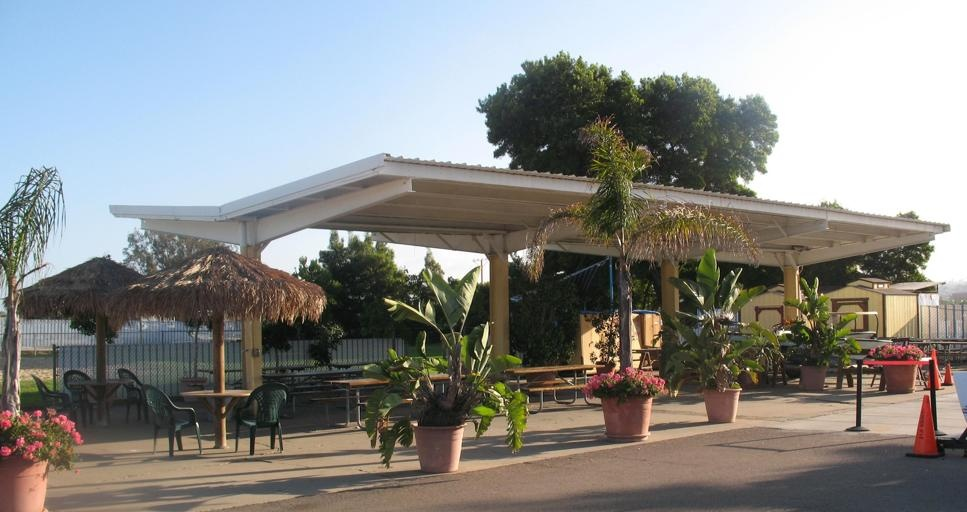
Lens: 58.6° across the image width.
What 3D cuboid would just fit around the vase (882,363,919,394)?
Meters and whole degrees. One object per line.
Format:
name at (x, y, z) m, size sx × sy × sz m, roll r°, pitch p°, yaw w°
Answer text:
vase at (12.905, 3.817, 26.662) m, size 1.017 × 0.775 × 1.036 m, roll -5°, pitch -12°, yaw 42°

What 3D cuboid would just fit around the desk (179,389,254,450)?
desk at (-6.451, 3.930, 21.480) m, size 1.758 × 1.225 × 1.766 m, roll -1°, pitch -9°, yaw -1°

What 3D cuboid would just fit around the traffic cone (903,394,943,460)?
traffic cone at (9.865, 3.869, 19.508) m, size 0.761 × 1.344 × 0.602 m, roll -3°, pitch -9°, yaw 10°

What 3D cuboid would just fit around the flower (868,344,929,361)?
flower at (12.720, 3.015, 26.687) m, size 0.941 × 0.335 × 0.949 m, roll 0°, pitch -4°, yaw 5°

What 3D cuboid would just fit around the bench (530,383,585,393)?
bench at (2.002, 3.850, 25.157) m, size 1.762 × 0.214 × 1.313 m, roll 2°, pitch -10°, yaw -23°
